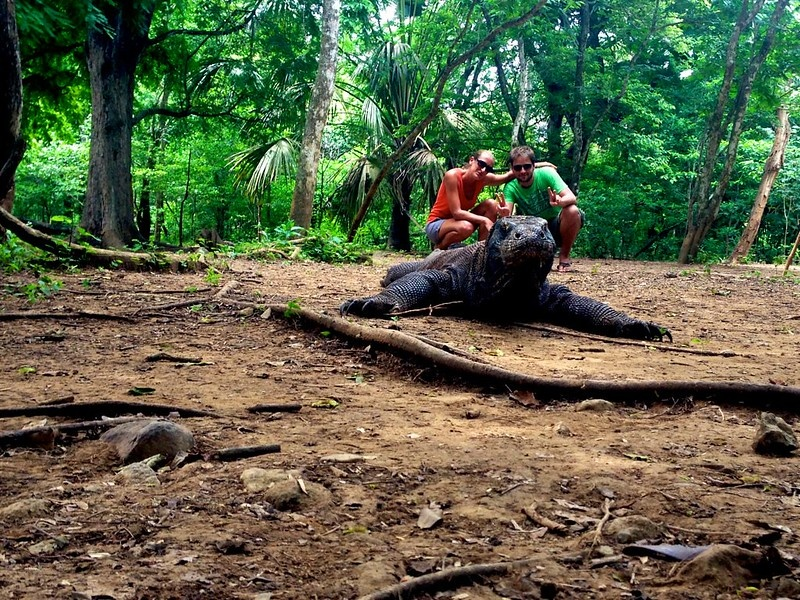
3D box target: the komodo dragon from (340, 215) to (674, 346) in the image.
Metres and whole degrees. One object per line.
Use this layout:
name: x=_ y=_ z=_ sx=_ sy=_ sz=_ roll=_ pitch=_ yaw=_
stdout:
komodo dragon: x=0.762 y=-0.222 z=8.166 sx=2.701 sy=0.801 sz=2.997 roll=6 pitch=-2 yaw=-12

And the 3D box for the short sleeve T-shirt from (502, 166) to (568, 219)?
short sleeve T-shirt: x=1.620 y=-1.281 z=10.280 sx=0.989 sy=0.330 sz=0.829 roll=-4 pitch=-7 yaw=-6

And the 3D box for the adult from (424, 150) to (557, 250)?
adult: x=1.030 y=-1.251 z=10.202 sx=1.974 sy=0.974 sz=0.899 roll=-10 pitch=9 yaw=-26

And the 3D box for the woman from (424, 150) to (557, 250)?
woman: x=1.013 y=-1.272 z=10.217 sx=1.923 sy=0.960 sz=0.917 roll=-11 pitch=10 yaw=-31
